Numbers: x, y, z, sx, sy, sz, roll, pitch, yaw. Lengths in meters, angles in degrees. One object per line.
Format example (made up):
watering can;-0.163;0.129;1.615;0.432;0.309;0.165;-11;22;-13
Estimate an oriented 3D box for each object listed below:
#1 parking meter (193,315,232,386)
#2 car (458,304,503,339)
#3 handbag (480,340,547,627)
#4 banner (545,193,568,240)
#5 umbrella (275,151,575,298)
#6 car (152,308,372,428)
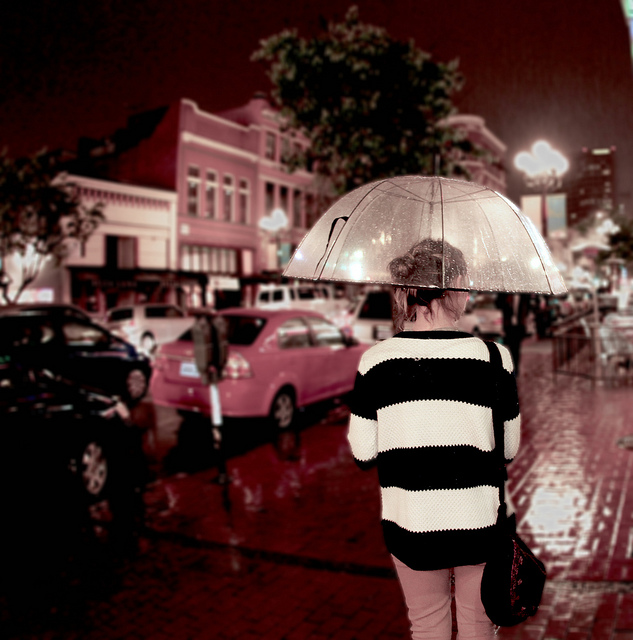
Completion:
parking meter;-0.702;0.210;4.327;0.226;0.491;0.204;0;5;-13
car;4.518;0.092;17.735;0.884;0.986;2.078;-1;3;-7
handbag;0.763;0.657;2.540;0.271;1.133;0.150;2;5;8
banner;2.748;-1.192;7.473;0.304;0.505;0.039;-3;3;-10
umbrella;0.616;-0.443;3.654;1.479;0.728;1.515;6;1;-20
car;-0.397;0.443;6.121;0.734;0.721;2.000;3;7;28
